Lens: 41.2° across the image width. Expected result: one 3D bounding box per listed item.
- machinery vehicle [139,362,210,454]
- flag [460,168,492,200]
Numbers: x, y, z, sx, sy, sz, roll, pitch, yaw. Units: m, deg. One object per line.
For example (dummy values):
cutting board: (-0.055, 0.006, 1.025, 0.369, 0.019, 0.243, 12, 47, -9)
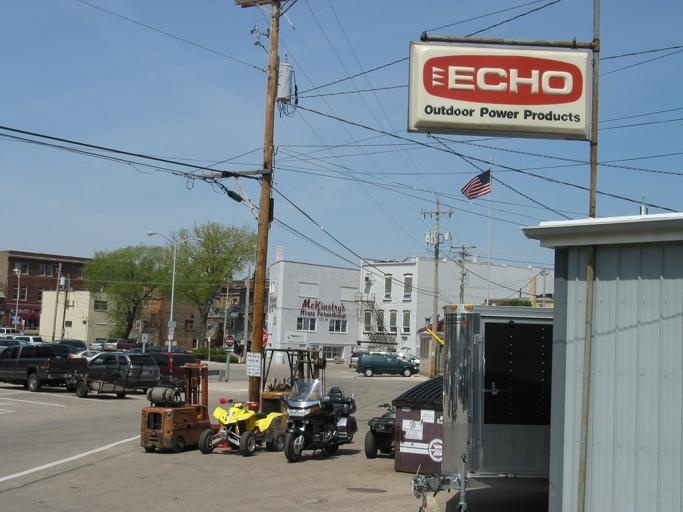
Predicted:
machinery vehicle: (-3.909, 3.361, 21.246, 1.236, 2.334, 1.304, -3, -5, 20)
flag: (5.519, -2.762, 36.288, 0.880, 1.052, 1.276, 7, -11, -25)
